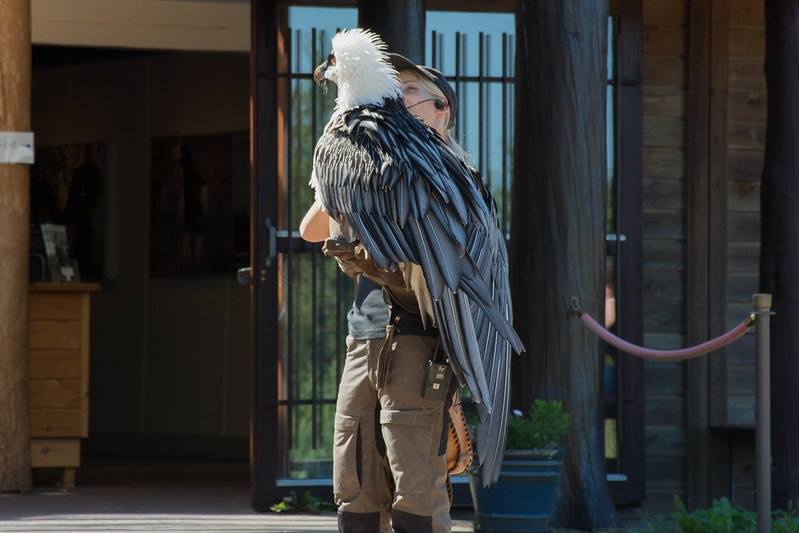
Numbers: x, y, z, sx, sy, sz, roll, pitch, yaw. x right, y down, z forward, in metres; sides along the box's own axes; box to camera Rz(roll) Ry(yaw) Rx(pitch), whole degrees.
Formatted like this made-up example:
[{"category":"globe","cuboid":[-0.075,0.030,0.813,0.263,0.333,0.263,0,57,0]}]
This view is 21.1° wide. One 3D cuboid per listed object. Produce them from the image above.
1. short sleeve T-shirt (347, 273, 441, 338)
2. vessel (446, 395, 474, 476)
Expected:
[{"category":"short sleeve T-shirt","cuboid":[-0.043,0.289,14.786,0.525,0.539,0.373,7,-26,-1]},{"category":"vessel","cuboid":[0.412,1.177,14.712,0.163,0.465,0.341,-4,5,22]}]
